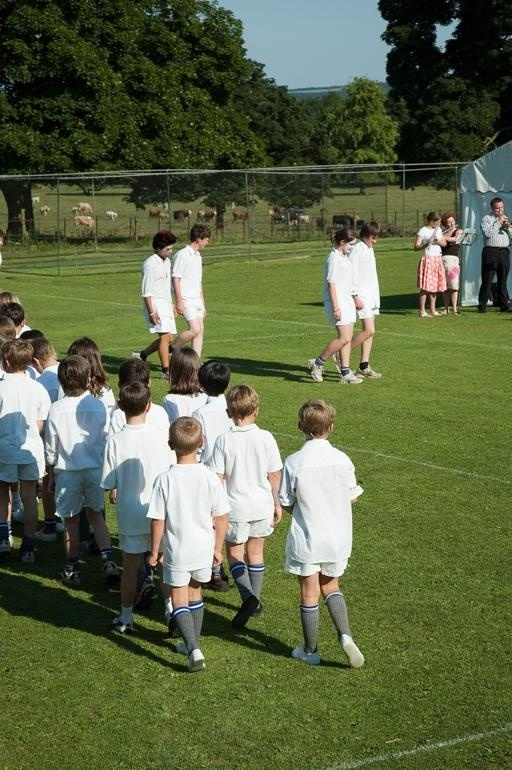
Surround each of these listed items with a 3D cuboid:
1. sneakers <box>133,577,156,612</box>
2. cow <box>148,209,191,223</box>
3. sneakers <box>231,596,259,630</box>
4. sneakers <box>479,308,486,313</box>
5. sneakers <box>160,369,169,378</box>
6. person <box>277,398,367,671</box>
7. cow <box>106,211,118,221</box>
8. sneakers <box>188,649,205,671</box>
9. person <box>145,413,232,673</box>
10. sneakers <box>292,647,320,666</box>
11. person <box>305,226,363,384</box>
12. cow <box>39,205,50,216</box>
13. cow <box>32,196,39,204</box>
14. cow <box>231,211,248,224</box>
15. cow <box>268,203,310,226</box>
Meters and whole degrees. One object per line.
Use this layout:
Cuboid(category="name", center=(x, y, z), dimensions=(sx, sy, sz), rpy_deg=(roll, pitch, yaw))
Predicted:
Cuboid(category="sneakers", center=(-0.594, 1.117, 4.288), dimensions=(0.078, 0.210, 0.095), rpy_deg=(4, 37, -8))
Cuboid(category="cow", center=(-3.038, -5.999, 28.308), dimensions=(1.498, 0.444, 0.880), rpy_deg=(-1, 12, -7))
Cuboid(category="sneakers", center=(-0.049, 1.150, 4.019), dimensions=(0.058, 0.168, 0.071), rpy_deg=(30, 13, -20))
Cuboid(category="sneakers", center=(4.604, -1.521, 16.232), dimensions=(0.093, 0.123, 0.125), rpy_deg=(8, 17, 9))
Cuboid(category="sneakers", center=(-1.151, -0.143, 10.156), dimensions=(0.100, 0.198, 0.293), rpy_deg=(1, -1, -6))
Cuboid(category="person", center=(0.303, 0.690, 3.595), dimensions=(0.392, 1.202, 0.400), rpy_deg=(2, 12, 8))
Cuboid(category="cow", center=(-5.089, -6.003, 28.388), dimensions=(0.374, 0.314, 0.698), rpy_deg=(-1, 12, -3))
Cuboid(category="sneakers", center=(-0.262, 1.201, 3.467), dimensions=(0.050, 0.136, 0.060), rpy_deg=(-6, 50, -19))
Cuboid(category="person", center=(-0.315, 0.715, 3.532), dimensions=(0.342, 1.100, 0.371), rpy_deg=(3, 13, 12))
Cuboid(category="sneakers", center=(0.230, 1.242, 3.658), dimensions=(0.057, 0.050, 0.116), rpy_deg=(-7, 15, -42))
Cuboid(category="person", center=(1.018, -0.955, 9.840), dimensions=(0.645, 1.887, 0.682), rpy_deg=(-4, 13, -17))
Cuboid(category="cow", center=(-7.978, -6.597, 30.267), dimensions=(0.235, 0.470, 0.873), rpy_deg=(-1, 3, -12))
Cuboid(category="cow", center=(-8.365, -7.031, 30.524), dimensions=(0.255, 0.273, 0.773), rpy_deg=(-5, 13, -21))
Cuboid(category="cow", center=(-0.570, -6.401, 30.345), dimensions=(0.551, 0.420, 1.256), rpy_deg=(0, 12, -2))
Cuboid(category="cow", center=(1.396, -7.143, 33.378), dimensions=(1.322, 0.626, 0.806), rpy_deg=(6, 11, 32))
